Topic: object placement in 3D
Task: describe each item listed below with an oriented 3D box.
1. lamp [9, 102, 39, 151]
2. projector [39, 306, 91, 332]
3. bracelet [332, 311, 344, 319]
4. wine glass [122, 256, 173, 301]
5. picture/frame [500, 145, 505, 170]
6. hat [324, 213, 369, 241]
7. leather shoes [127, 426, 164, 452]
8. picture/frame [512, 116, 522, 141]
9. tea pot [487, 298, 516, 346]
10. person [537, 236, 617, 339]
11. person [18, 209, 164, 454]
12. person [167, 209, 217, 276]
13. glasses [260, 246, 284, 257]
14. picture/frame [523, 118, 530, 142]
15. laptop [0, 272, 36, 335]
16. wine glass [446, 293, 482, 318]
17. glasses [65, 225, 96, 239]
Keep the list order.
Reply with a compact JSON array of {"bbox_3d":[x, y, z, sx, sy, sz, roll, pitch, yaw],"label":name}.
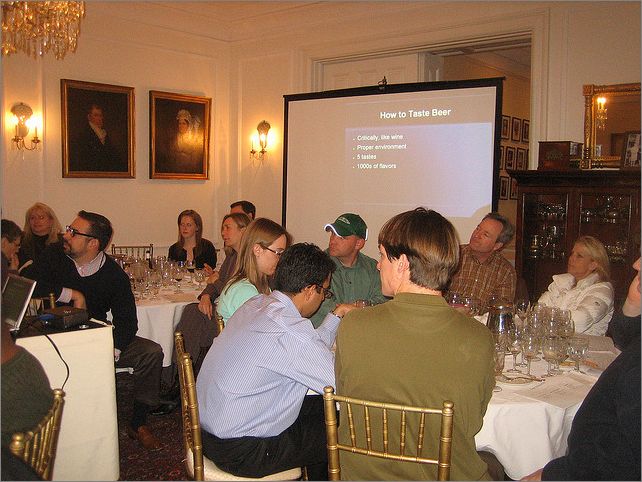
[{"bbox_3d":[-3.641,-1.401,6.340,0.319,0.579,0.114,-1,7,-35],"label":"lamp"},{"bbox_3d":[-1.485,0.426,3.021,0.130,0.080,0.185,10,14,38],"label":"projector"},{"bbox_3d":[0.104,0.418,2.946,0.039,0.034,0.041,0,-2,38],"label":"bracelet"},{"bbox_3d":[-1.550,0.323,4.695,0.310,0.298,0.410,-1,5,24],"label":"wine glass"},{"bbox_3d":[2.949,-1.339,8.307,0.057,0.386,0.223,6,6,32],"label":"picture/frame"},{"bbox_3d":[0.207,-0.104,3.906,0.256,0.148,0.191,15,1,-32],"label":"hat"},{"bbox_3d":[-1.259,1.380,3.708,0.268,0.126,0.110,20,19,30],"label":"leather shoes"},{"bbox_3d":[3.274,-1.869,8.631,0.029,0.452,0.404,2,2,38],"label":"picture/frame"},{"bbox_3d":[1.010,0.442,2.878,0.148,0.258,0.222,0,-10,4],"label":"tea pot"},{"bbox_3d":[1.927,0.398,3.912,0.474,0.813,0.561,2,2,-17],"label":"person"},{"bbox_3d":[-1.744,0.601,3.701,1.075,1.648,0.891,0,12,-40],"label":"person"},{"bbox_3d":[-1.473,0.048,5.898,0.528,0.814,0.422,0,0,9],"label":"person"},{"bbox_3d":[-0.296,0.069,3.249,0.093,0.032,0.093,23,5,36],"label":"glasses"},{"bbox_3d":[3.543,-1.897,8.892,0.080,0.427,0.249,7,7,38],"label":"picture/frame"},{"bbox_3d":[-1.693,0.355,2.873,0.239,0.186,0.179,11,-6,43],"label":"laptop"},{"bbox_3d":[0.948,0.409,3.331,0.221,0.093,0.180,1,2,-24],"label":"wine glass"},{"bbox_3d":[-1.703,-0.055,3.622,0.117,0.035,0.113,17,2,-36],"label":"glasses"}]
